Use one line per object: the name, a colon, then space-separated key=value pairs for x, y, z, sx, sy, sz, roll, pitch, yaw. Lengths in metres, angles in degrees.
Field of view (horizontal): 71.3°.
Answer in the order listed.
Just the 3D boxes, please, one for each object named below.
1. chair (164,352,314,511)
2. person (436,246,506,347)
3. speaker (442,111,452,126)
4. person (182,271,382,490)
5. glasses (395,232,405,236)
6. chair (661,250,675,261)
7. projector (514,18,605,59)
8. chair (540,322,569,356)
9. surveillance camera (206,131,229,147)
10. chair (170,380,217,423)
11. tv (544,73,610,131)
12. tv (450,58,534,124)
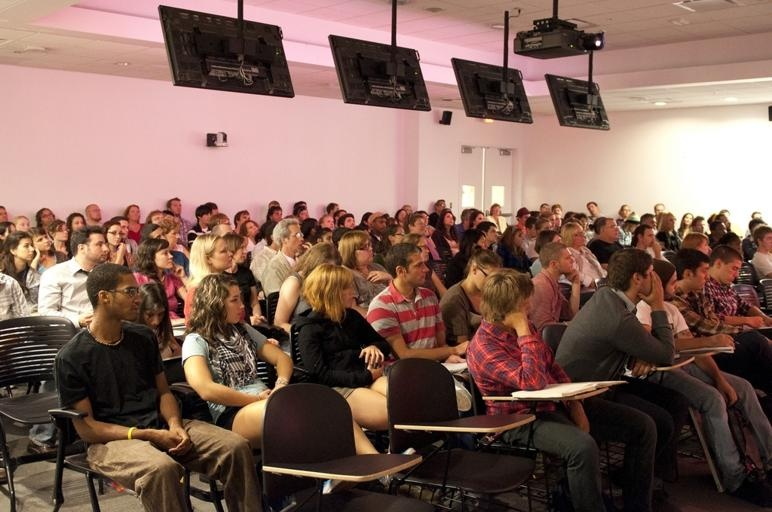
chair: x=-0.883 y=0.958 z=3.242 sx=0.630 sy=0.748 sz=0.627 roll=-2 pitch=1 yaw=-44
person: x=0.782 y=0.384 z=4.486 sx=0.557 sy=0.831 sz=0.554 roll=0 pitch=10 yaw=-27
speaker: x=1.573 y=-3.623 z=14.012 sx=0.178 sy=0.342 sz=0.360 roll=5 pitch=8 yaw=40
person: x=-0.399 y=0.584 z=3.509 sx=1.223 sy=1.419 sz=1.079 roll=-2 pitch=0 yaw=41
glasses: x=0.202 y=-0.281 z=6.587 sx=0.140 sy=0.051 sz=0.132 roll=-2 pitch=2 yaw=42
chair: x=3.855 y=-0.006 z=7.382 sx=0.149 sy=0.147 sz=0.149 roll=-3 pitch=8 yaw=-16
projector: x=2.165 y=-2.814 z=7.104 sx=0.651 sy=0.313 sz=0.855 roll=-3 pitch=6 yaw=-39
chair: x=1.253 y=0.613 z=4.000 sx=0.234 sy=0.284 sz=0.217 roll=4 pitch=-6 yaw=-43
surveillance camera: x=-3.514 y=-2.407 z=11.189 sx=0.291 sy=0.249 sz=0.407 roll=0 pitch=2 yaw=13
chair: x=-1.229 y=0.925 z=3.498 sx=0.234 sy=0.244 sz=0.256 roll=-24 pitch=-7 yaw=23
tv: x=3.236 y=-2.608 z=9.104 sx=1.456 sy=0.848 sz=0.206 roll=-4 pitch=2 yaw=-34
tv: x=1.600 y=-2.492 z=8.071 sx=1.409 sy=0.854 sz=0.237 roll=-4 pitch=2 yaw=-33
